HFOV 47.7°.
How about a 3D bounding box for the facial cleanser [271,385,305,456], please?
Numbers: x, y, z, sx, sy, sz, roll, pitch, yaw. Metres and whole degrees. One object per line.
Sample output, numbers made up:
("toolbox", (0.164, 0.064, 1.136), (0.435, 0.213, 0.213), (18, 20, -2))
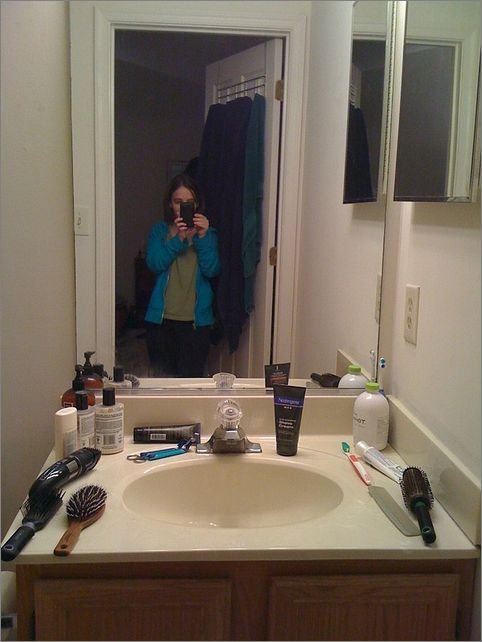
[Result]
("facial cleanser", (0.092, 0.198, 1.100), (0.061, 0.137, 0.076), (1, 2, 0))

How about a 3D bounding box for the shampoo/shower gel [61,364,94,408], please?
("shampoo/shower gel", (-0.335, 0.138, 1.101), (0.053, 0.105, 0.058), (-7, -13, 39))

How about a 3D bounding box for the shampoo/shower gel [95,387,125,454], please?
("shampoo/shower gel", (-0.254, 0.202, 1.055), (0.049, 0.134, 0.060), (-1, 13, -15))

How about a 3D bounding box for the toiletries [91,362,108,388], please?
("toiletries", (-0.311, 0.123, 1.207), (0.030, 0.046, 0.035), (3, 12, 12))

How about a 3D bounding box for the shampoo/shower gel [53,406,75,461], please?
("shampoo/shower gel", (-0.308, 0.217, 0.973), (0.018, 0.092, 0.035), (-26, -25, 21))

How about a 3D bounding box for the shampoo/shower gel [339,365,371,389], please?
("shampoo/shower gel", (0.257, 0.134, 1.249), (0.046, 0.065, 0.053), (3, -1, -4))

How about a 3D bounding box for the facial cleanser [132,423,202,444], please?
("facial cleanser", (-0.161, 0.241, 1.130), (0.118, 0.035, 0.063), (-1, 48, 1))

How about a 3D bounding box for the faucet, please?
("faucet", (-0.024, 0.218, 1.106), (0.114, 0.111, 0.064), (2, -8, -8))

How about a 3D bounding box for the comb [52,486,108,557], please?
("comb", (-0.237, 0.287, 0.795), (0.053, 0.042, 0.177), (-15, 4, 2))

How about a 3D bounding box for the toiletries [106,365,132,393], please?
("toiletries", (-0.266, 0.133, 1.194), (0.043, 0.055, 0.050), (4, 14, 8))

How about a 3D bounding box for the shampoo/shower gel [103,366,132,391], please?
("shampoo/shower gel", (-0.269, 0.131, 1.199), (0.047, 0.069, 0.050), (3, 4, 34))
